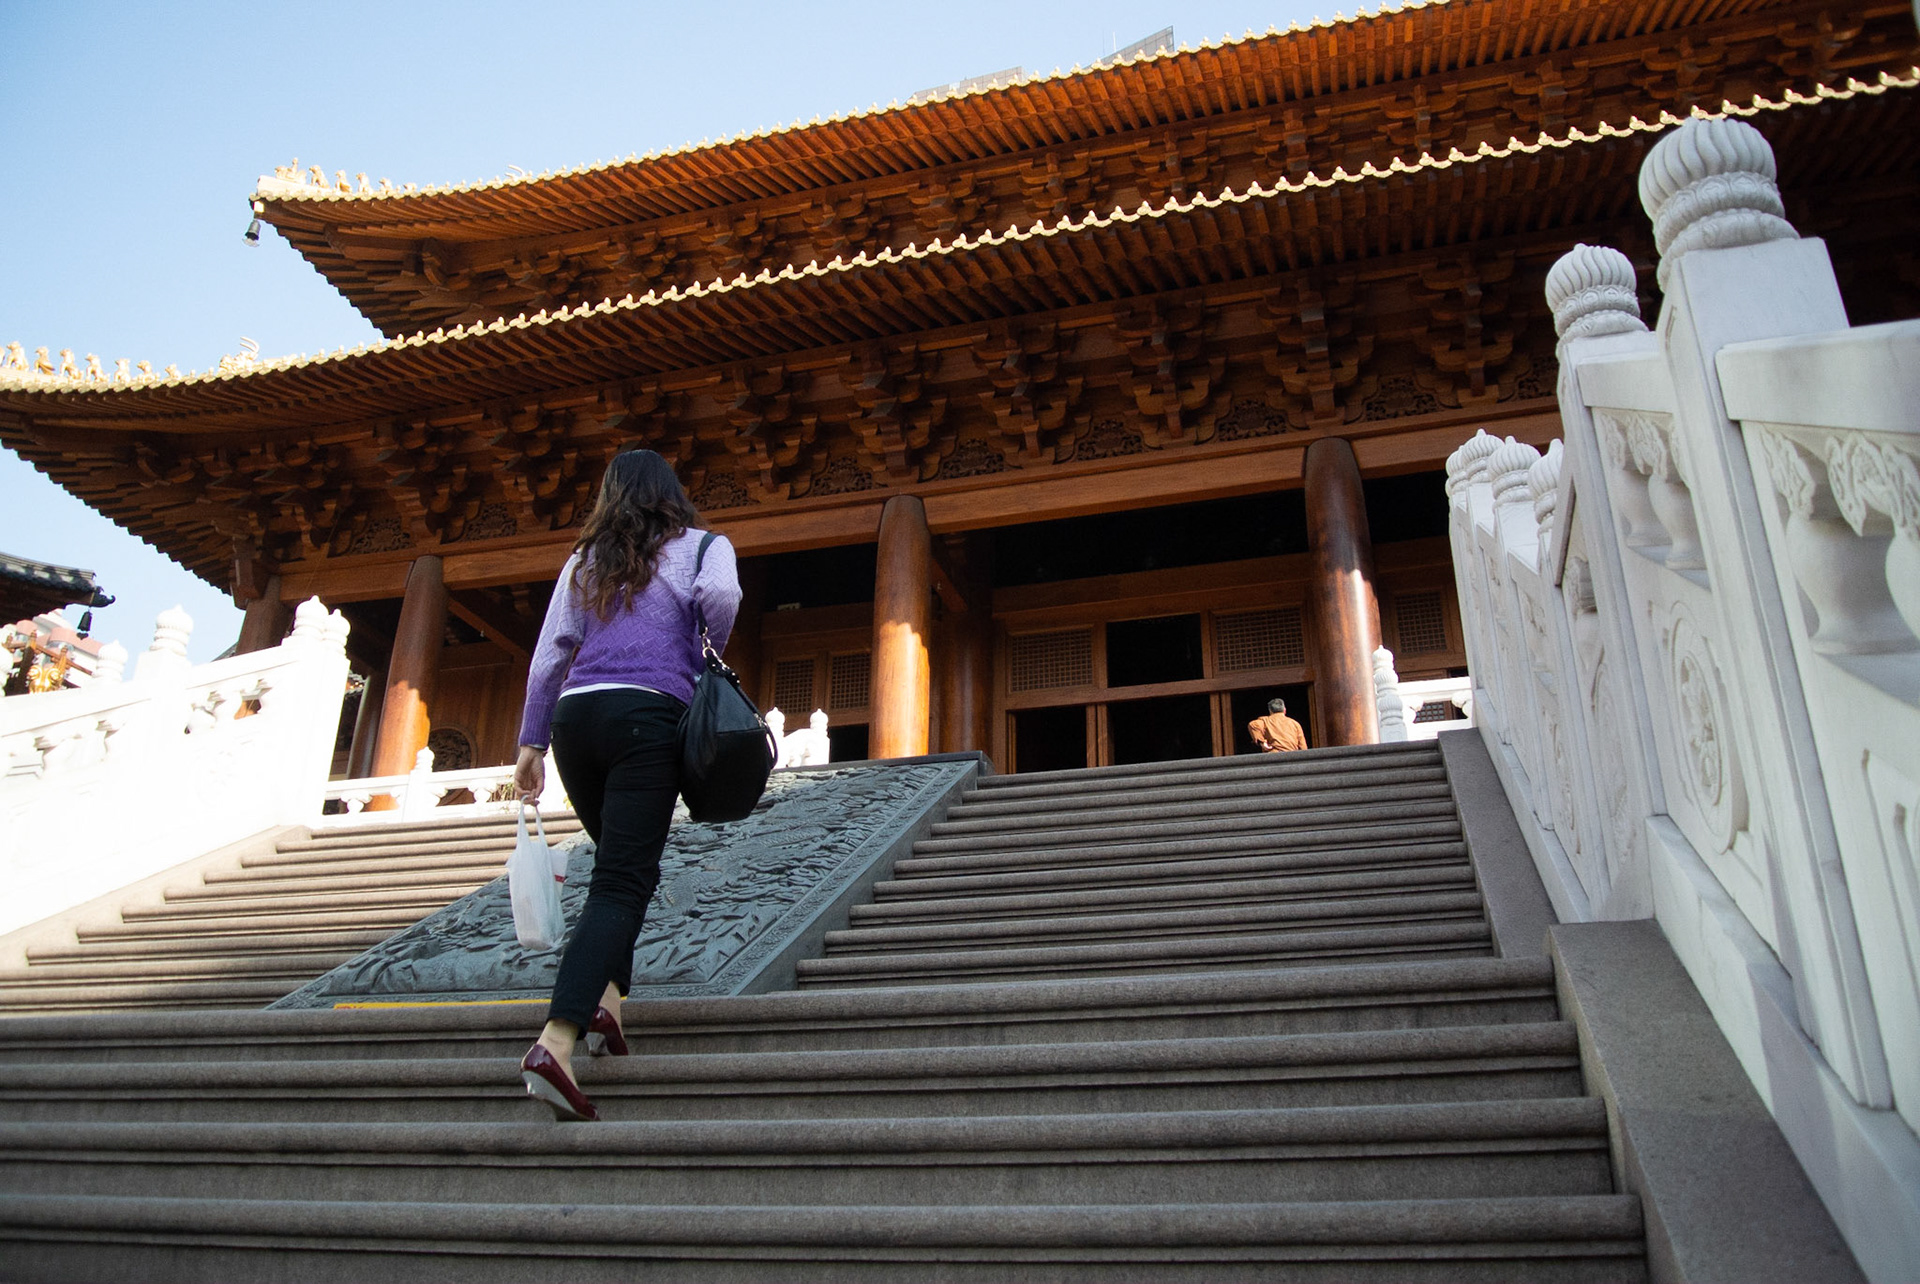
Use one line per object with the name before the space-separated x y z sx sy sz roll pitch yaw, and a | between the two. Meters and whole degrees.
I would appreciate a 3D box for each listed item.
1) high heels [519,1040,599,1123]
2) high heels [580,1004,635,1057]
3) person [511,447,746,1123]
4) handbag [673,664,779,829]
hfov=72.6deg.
high heels | -0.982 1.071 3.189 0.171 0.188 0.189 2 -16 -17
high heels | -0.925 1.017 3.413 0.120 0.124 0.252 2 -15 -14
person | -0.928 0.315 3.614 0.532 1.845 0.486 5 -17 -24
handbag | -0.638 0.259 3.561 0.243 0.440 0.211 1 -16 -11
